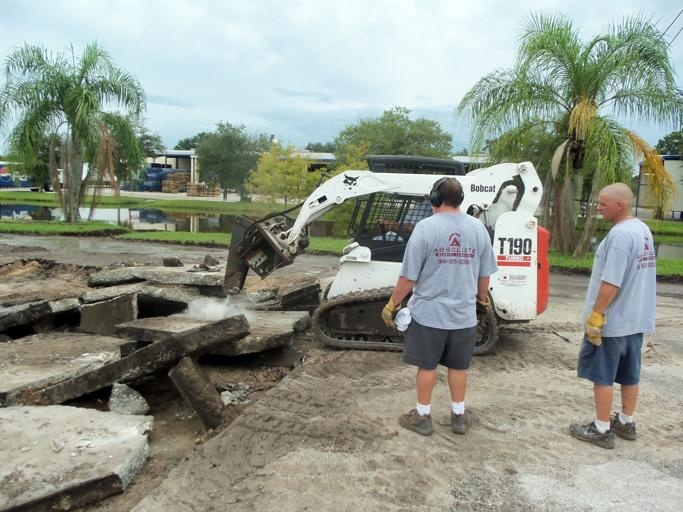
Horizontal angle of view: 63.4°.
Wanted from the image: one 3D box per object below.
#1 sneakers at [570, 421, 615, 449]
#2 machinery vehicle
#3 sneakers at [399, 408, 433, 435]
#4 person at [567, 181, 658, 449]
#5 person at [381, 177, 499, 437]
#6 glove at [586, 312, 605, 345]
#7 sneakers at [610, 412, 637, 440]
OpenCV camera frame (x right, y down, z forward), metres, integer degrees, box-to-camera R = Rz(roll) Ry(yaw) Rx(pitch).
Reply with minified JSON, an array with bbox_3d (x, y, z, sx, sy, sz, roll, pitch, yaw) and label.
[{"bbox_3d":[2.523,1.787,5.665,0.479,0.232,0.193,11,-4,38],"label":"sneakers"},{"bbox_3d":[0.580,-0.092,8.618,4.940,2.703,2.108,2,1,9],"label":"machinery vehicle"},{"bbox_3d":[0.767,1.656,5.637,0.368,0.259,0.174,17,7,41],"label":"sneakers"},{"bbox_3d":[2.737,0.581,5.506,0.734,2.594,0.408,-1,8,-16],"label":"person"},{"bbox_3d":[0.992,0.501,5.571,1.049,2.548,0.446,2,8,3],"label":"person"},{"bbox_3d":[2.458,0.681,5.363,0.106,0.294,0.219,13,8,27],"label":"glove"},{"bbox_3d":[2.903,1.734,5.779,0.178,0.199,0.404,-2,5,-2],"label":"sneakers"}]
